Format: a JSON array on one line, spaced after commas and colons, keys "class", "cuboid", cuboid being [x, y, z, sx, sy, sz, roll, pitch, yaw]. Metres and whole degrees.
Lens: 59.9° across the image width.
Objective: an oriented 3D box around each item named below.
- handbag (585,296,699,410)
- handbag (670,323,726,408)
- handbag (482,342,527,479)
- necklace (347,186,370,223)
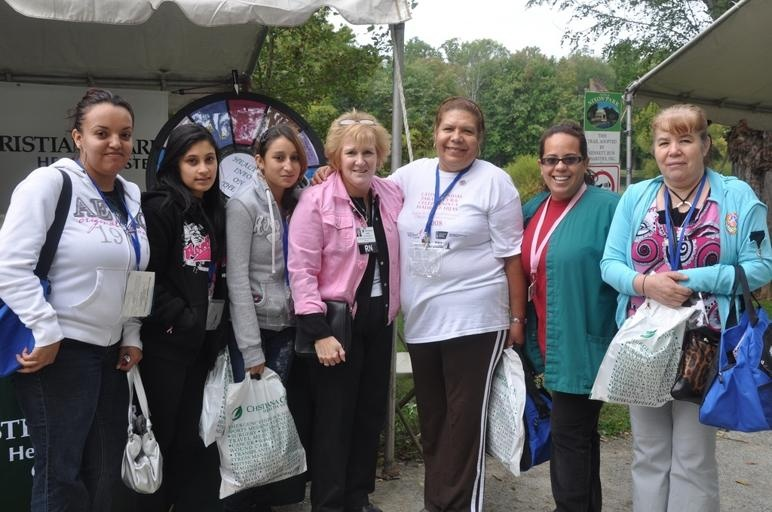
[{"class": "handbag", "cuboid": [1.672, 0.631, 4.320, 0.677, 0.745, 0.325, 10, -1, 29]}, {"class": "handbag", "cuboid": [1.953, 0.680, 4.193, 0.364, 0.462, 0.155, 13, 3, 22]}, {"class": "handbag", "cuboid": [0.878, 1.088, 4.740, 0.193, 0.845, 0.299, -2, 7, -28]}, {"class": "necklace", "cuboid": [-0.168, -0.352, 4.733, 0.144, 0.189, 0.100, 2, -24, -17]}]
